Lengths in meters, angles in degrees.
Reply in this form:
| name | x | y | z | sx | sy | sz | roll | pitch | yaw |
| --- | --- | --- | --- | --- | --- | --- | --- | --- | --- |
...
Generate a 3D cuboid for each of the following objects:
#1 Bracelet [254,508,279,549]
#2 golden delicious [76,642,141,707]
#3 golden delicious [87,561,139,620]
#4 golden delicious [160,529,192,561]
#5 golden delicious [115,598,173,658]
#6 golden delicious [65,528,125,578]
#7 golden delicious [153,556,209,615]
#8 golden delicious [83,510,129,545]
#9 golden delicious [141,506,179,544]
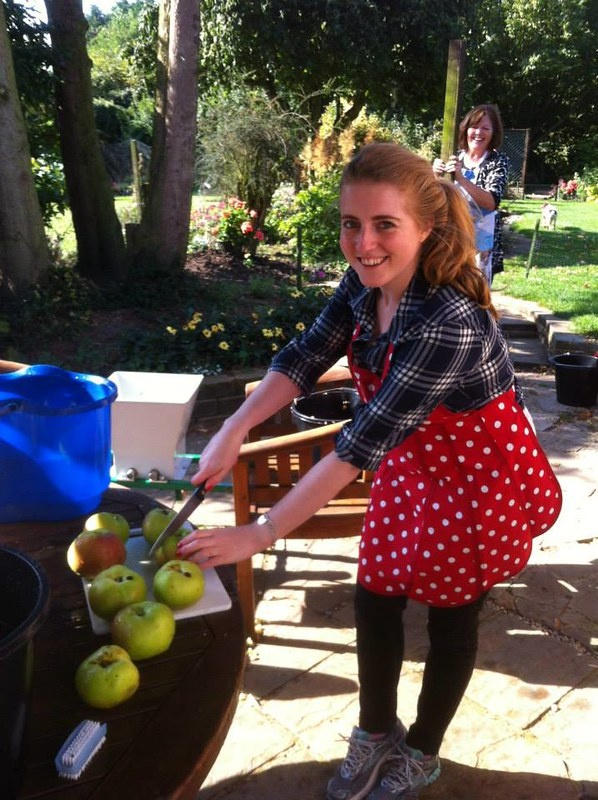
| name | x | y | z | sx | sy | sz | roll | pitch | yaw |
| --- | --- | --- | --- | --- | --- | --- | --- | --- | --- |
| Bracelet | -0.050 | 0.271 | 1.431 | 0.046 | 0.071 | 0.058 | -20 | 18 | -32 |
| golden delicious | -0.311 | 0.452 | 1.112 | 0.096 | 0.078 | 0.085 | 1 | 15 | 8 |
| golden delicious | -0.352 | 0.361 | 1.306 | 0.105 | 0.089 | 0.094 | -1 | 19 | -10 |
| golden delicious | -0.259 | 0.302 | 1.426 | 0.040 | 0.062 | 0.041 | 32 | 31 | -21 |
| golden delicious | -0.280 | 0.410 | 1.274 | 0.111 | 0.087 | 0.097 | 5 | 19 | -5 |
| golden delicious | -0.424 | 0.317 | 1.428 | 0.119 | 0.084 | 0.102 | -3 | 13 | -9 |
| golden delicious | -0.232 | 0.353 | 1.356 | 0.108 | 0.070 | 0.093 | 10 | 30 | 7 |
| golden delicious | -0.444 | 0.281 | 1.558 | 0.087 | 0.073 | 0.080 | 3 | 11 | -17 |
| golden delicious | -0.328 | 0.281 | 1.562 | 0.087 | 0.078 | 0.080 | 12 | 9 | -19 |
